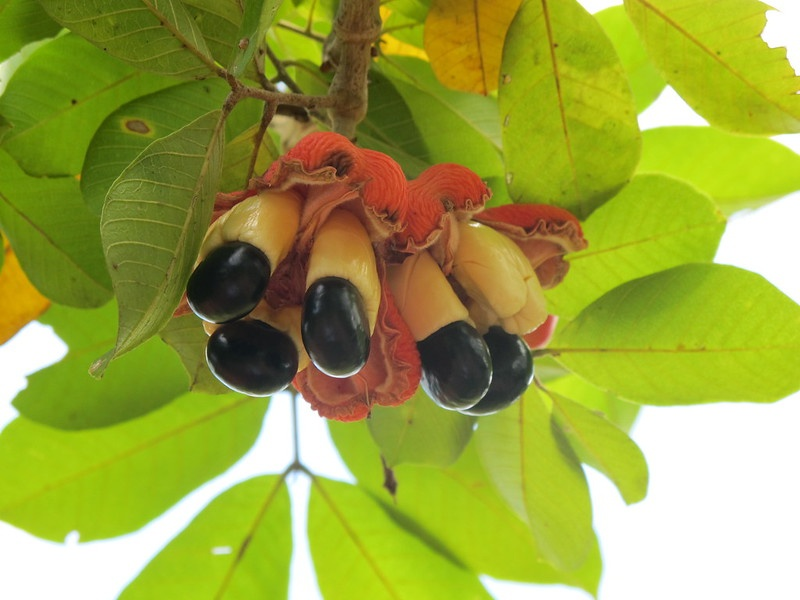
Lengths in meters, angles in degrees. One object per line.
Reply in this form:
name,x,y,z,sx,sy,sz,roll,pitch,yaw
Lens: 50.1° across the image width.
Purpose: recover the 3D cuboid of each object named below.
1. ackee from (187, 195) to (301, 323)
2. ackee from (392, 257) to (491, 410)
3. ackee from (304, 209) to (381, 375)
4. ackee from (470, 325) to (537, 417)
ackee,-0.175,-0.052,0.956,0.078,0.121,0.130,31,-58,-25
ackee,0.052,0.027,1.074,0.085,0.196,0.090,-22,-15,-36
ackee,-0.071,-0.007,0.995,0.088,0.166,0.072,11,-16,-36
ackee,0.129,0.095,1.128,0.096,0.112,0.095,-1,-18,44
